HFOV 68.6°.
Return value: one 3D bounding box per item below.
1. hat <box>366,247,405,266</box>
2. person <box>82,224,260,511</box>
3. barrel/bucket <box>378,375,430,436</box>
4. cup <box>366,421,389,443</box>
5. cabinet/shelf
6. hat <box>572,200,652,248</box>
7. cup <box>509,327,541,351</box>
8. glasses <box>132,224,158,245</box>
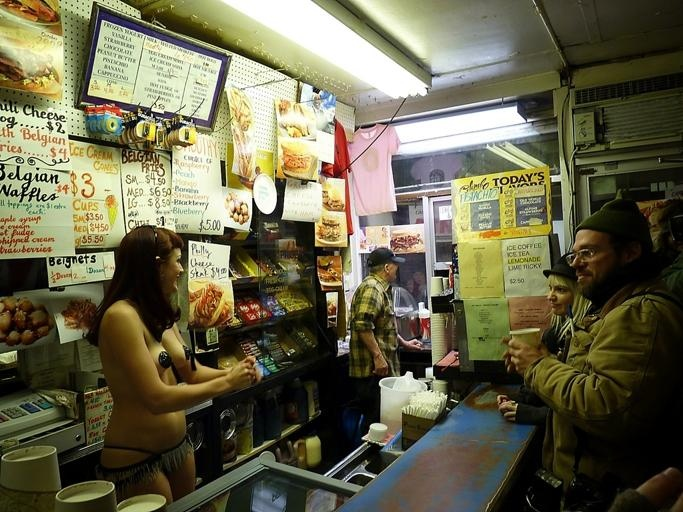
[{"bbox_3d":[0.417,0.008,4.778,0.285,0.162,0.188,-11,8,-9],"label":"hat"},{"bbox_3d":[-0.885,0.556,2.492,0.646,1.069,0.544,-5,3,-28],"label":"person"},{"bbox_3d":[0.351,0.940,3.261,0.298,0.335,0.331,-2,4,34],"label":"barrel/bucket"},{"bbox_3d":[0.219,1.065,3.035,0.092,0.086,0.116,2,-4,-45],"label":"cup"},{"bbox_3d":[-0.618,0.444,4.284,0.863,1.579,0.373,-10,-17,-11],"label":"cabinet/shelf"},{"bbox_3d":[1.200,-0.149,2.228,0.227,0.138,0.229,19,-8,-5],"label":"hat"},{"bbox_3d":[0.916,0.406,2.484,0.119,0.071,0.119,-3,-5,0],"label":"cup"},{"bbox_3d":[-0.957,-0.108,2.455,0.101,0.034,0.103,3,-25,-11],"label":"glasses"}]
